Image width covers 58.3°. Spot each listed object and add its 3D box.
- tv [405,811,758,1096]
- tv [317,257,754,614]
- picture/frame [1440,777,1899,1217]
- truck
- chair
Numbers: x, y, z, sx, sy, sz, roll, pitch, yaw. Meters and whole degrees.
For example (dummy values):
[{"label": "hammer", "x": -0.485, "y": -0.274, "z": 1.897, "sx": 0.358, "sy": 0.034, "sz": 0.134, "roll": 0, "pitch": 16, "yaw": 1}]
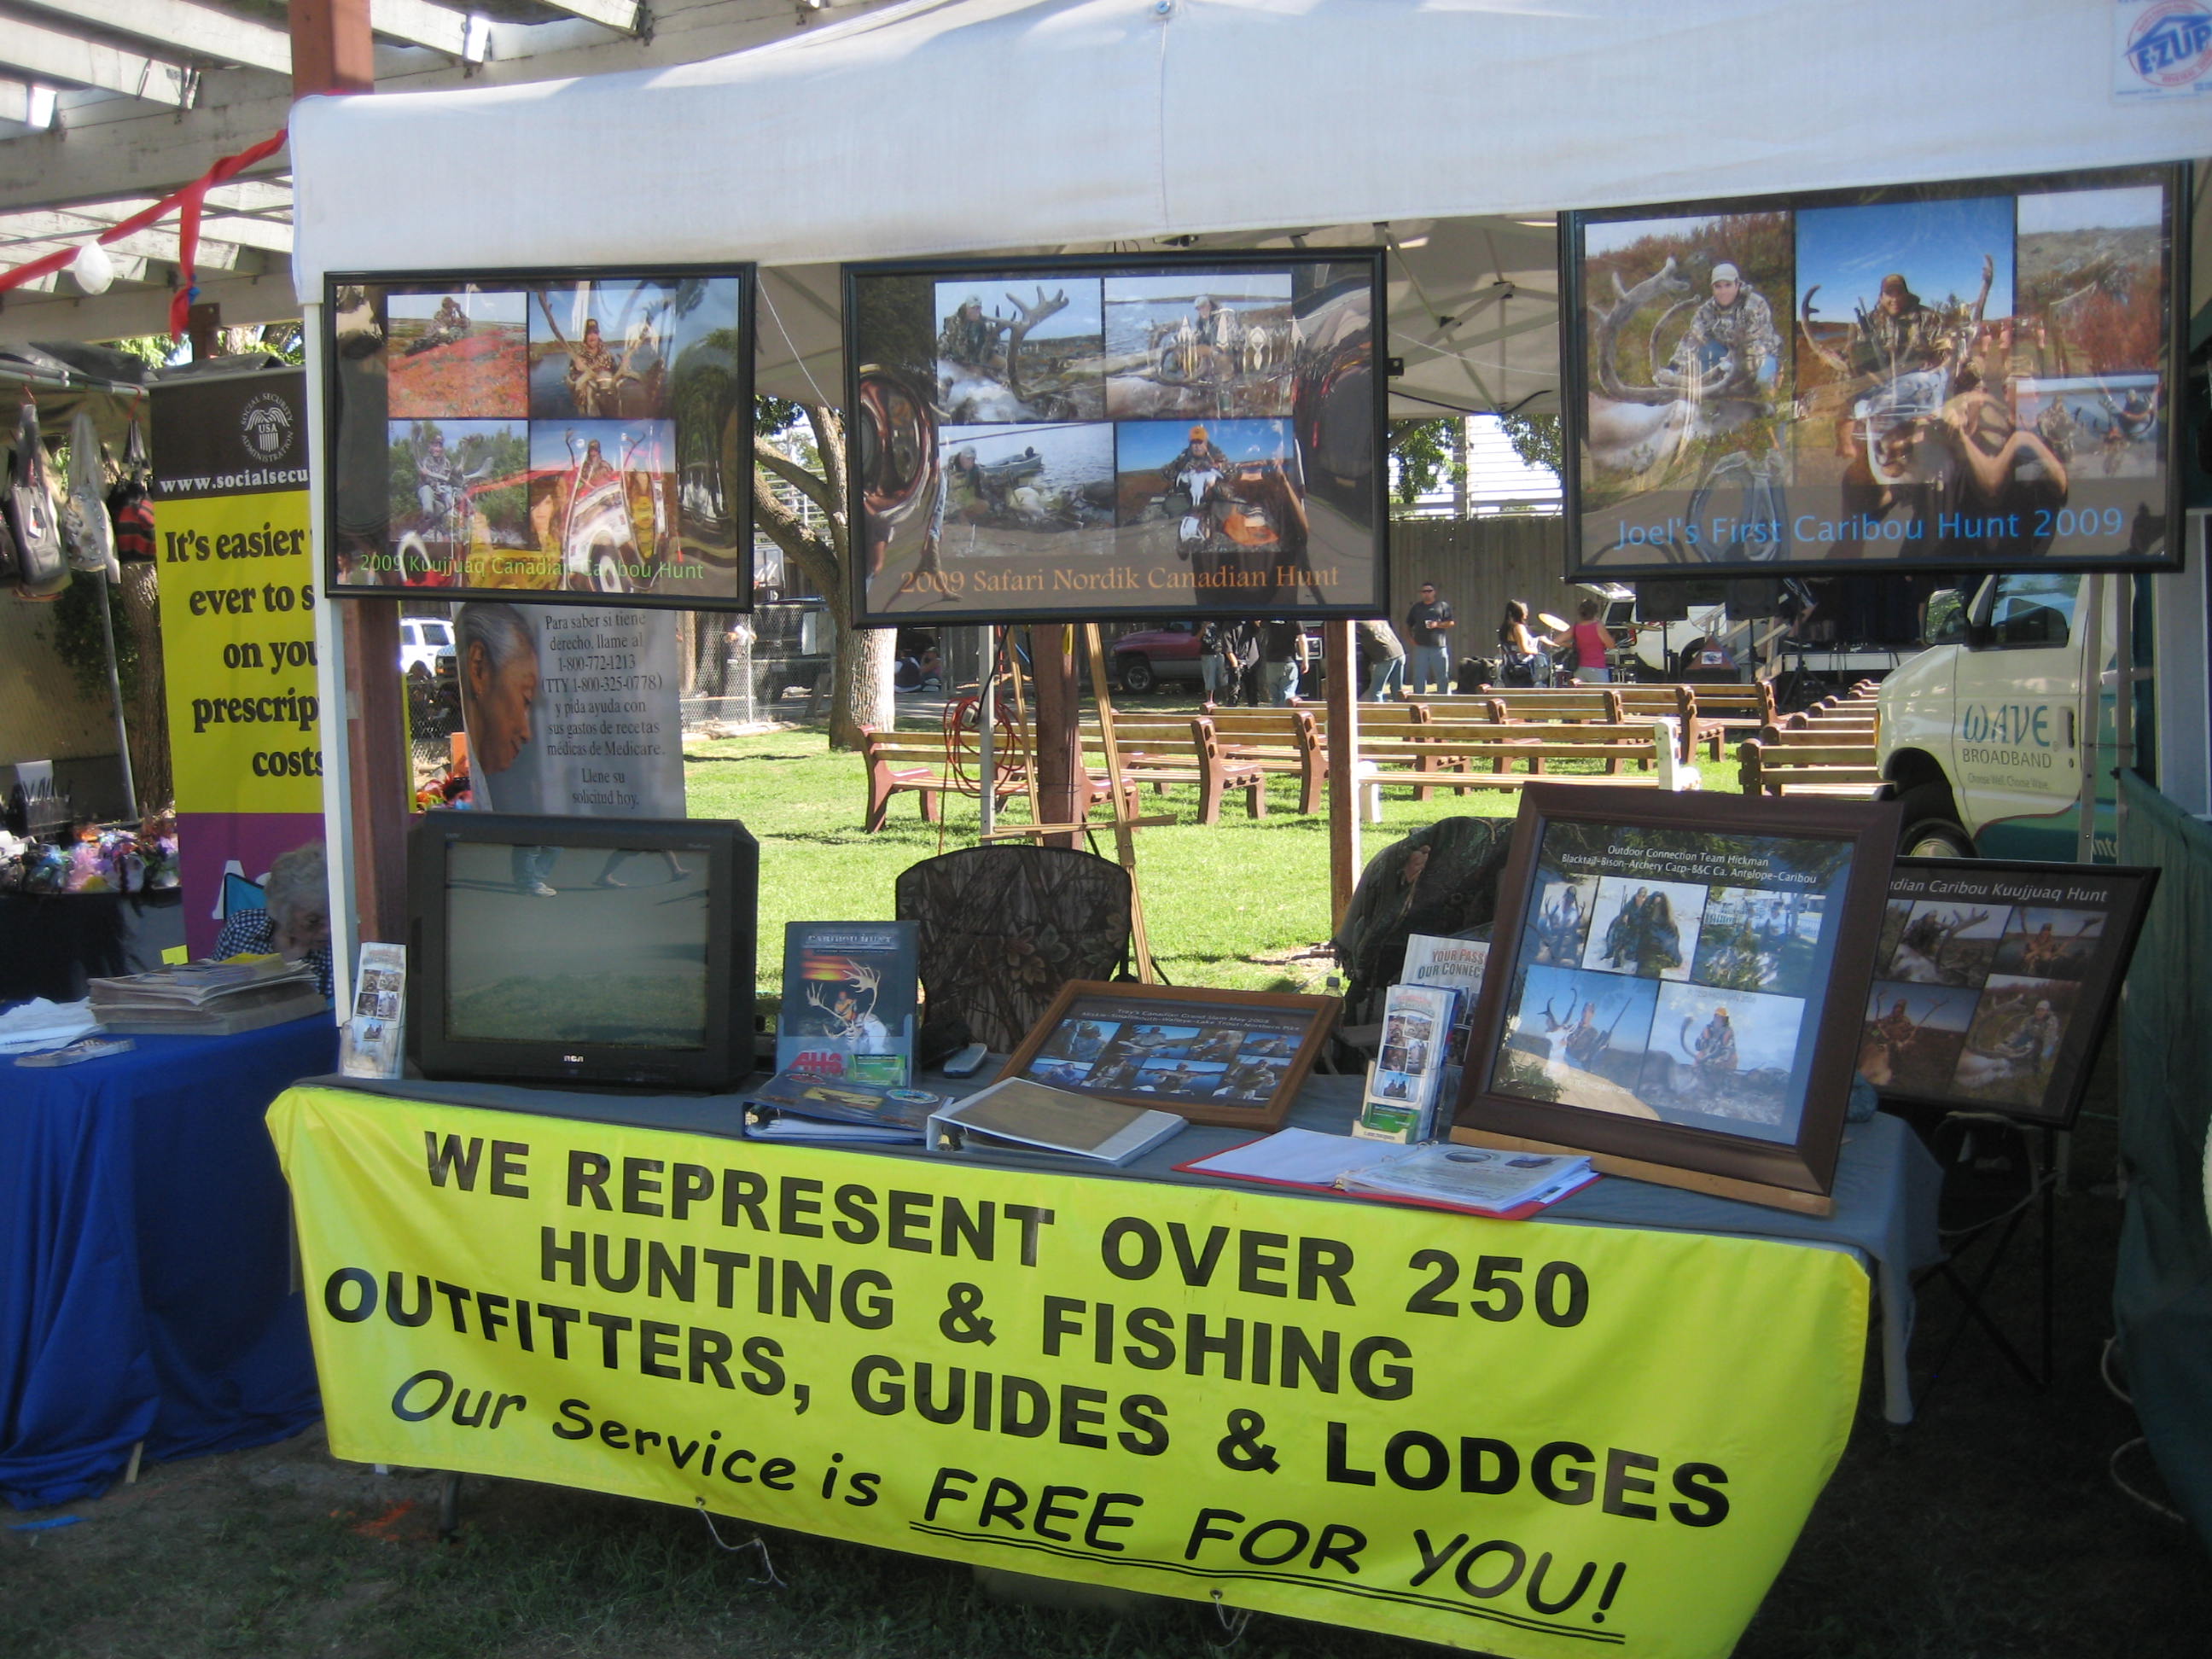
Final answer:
[{"label": "tv", "x": -1.107, "y": 0.263, "z": 4.421, "sx": 0.896, "sy": 0.749, "sz": 0.514, "roll": -1, "pitch": -8, "yaw": 8}, {"label": "tv", "x": -1.318, "y": -0.898, "z": 4.538, "sx": 1.100, "sy": 0.750, "sz": 0.107, "roll": 2, "pitch": 9, "yaw": 16}, {"label": "picture/frame", "x": 1.036, "y": 0.326, "z": 3.617, "sx": 0.646, "sy": 0.718, "sz": 0.054, "roll": 10, "pitch": -6, "yaw": 29}, {"label": "truck", "x": 3.231, "y": -0.388, "z": 7.242, "sx": 0.494, "sy": 1.201, "sz": 2.595, "roll": 2, "pitch": 10, "yaw": 16}, {"label": "chair", "x": -0.238, "y": 0.286, "z": 5.000, "sx": 0.467, "sy": 0.683, "sz": 0.512, "roll": 0, "pitch": -5, "yaw": 2}]
